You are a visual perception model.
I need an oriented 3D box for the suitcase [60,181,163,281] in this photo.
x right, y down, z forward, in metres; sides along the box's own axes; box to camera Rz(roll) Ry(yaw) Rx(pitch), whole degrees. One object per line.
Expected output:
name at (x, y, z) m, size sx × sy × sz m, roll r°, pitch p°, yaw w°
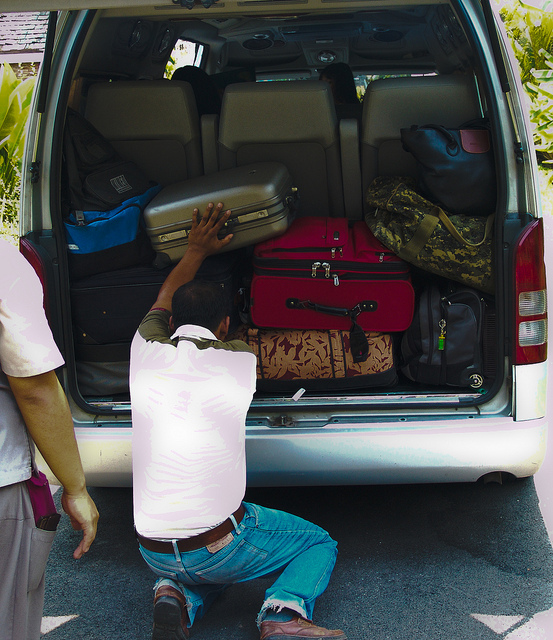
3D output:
suitcase at (-0.655, -0.388, 2.290) m, size 0.382 × 0.345 × 0.418 m, roll 7°, pitch 25°, yaw 15°

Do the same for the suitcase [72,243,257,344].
suitcase at (-0.592, -0.157, 2.320) m, size 0.634 × 0.252 × 0.457 m, roll -5°, pitch 12°, yaw -3°

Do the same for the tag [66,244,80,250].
tag at (-0.801, -0.289, 2.176) m, size 0.043 × 0.022 × 0.010 m, roll -6°, pitch 12°, yaw -10°

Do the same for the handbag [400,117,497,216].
handbag at (0.652, -0.610, 2.265) m, size 0.519 × 0.370 × 0.404 m, roll -8°, pitch 28°, yaw -21°

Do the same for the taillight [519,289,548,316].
taillight at (0.846, -0.061, 1.807) m, size 0.140 × 0.079 × 0.030 m, roll -10°, pitch 13°, yaw -28°

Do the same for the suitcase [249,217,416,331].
suitcase at (0.216, -0.201, 2.266) m, size 0.566 × 0.304 × 0.455 m, roll 1°, pitch 23°, yaw 3°

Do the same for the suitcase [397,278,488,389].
suitcase at (0.585, 0.055, 2.187) m, size 0.369 × 0.376 × 0.331 m, roll 4°, pitch 25°, yaw 4°

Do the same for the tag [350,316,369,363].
tag at (0.300, 0.070, 2.077) m, size 0.059 × 0.169 × 0.074 m, roll -8°, pitch 13°, yaw -16°
